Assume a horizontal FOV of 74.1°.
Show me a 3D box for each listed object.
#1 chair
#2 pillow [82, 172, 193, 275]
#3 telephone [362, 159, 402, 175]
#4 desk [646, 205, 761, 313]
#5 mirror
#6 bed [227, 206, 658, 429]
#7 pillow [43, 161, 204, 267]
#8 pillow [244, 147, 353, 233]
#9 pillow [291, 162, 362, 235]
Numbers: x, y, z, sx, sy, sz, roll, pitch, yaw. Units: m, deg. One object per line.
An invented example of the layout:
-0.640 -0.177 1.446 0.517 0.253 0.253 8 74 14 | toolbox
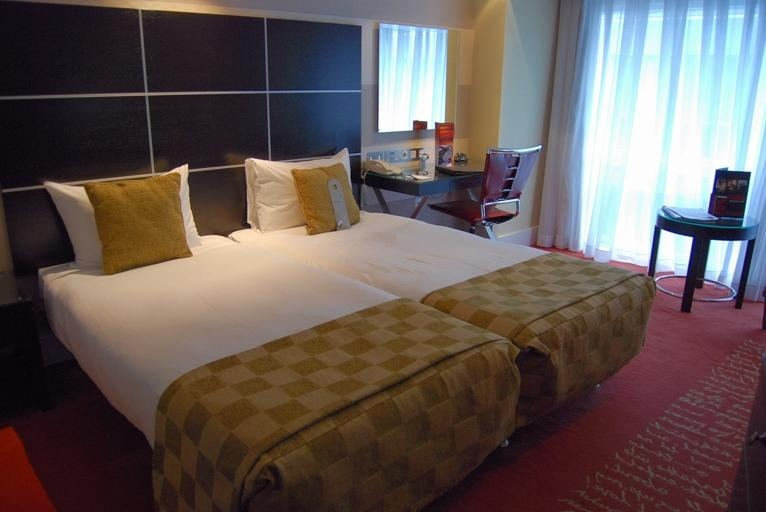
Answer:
0.931 -0.491 4.743 0.681 1.065 0.812 -14 22 -39 | chair
-1.571 -0.193 3.195 0.563 0.472 0.256 -18 27 -37 | pillow
-0.032 -0.795 4.509 0.240 0.063 0.193 10 22 23 | telephone
2.637 0.052 4.197 0.746 0.791 0.431 8 21 26 | desk
0.242 -1.690 4.678 1.020 1.098 0.060 -11 26 -31 | mirror
0.400 0.140 3.384 1.346 0.532 2.245 -18 30 -38 | bed
-1.703 -0.257 3.238 0.639 0.434 0.219 -21 21 -36 | pillow
-0.653 -0.523 4.154 0.326 0.601 0.945 13 15 43 | pillow
-0.447 -0.415 3.983 0.194 0.665 0.721 10 14 33 | pillow
